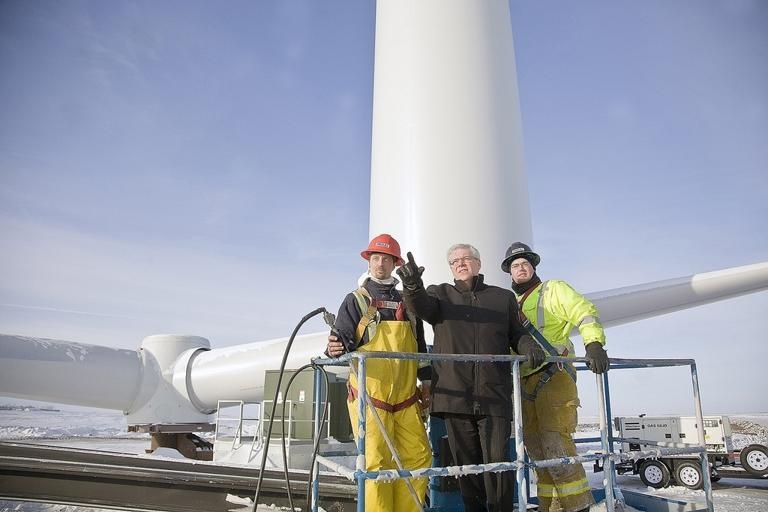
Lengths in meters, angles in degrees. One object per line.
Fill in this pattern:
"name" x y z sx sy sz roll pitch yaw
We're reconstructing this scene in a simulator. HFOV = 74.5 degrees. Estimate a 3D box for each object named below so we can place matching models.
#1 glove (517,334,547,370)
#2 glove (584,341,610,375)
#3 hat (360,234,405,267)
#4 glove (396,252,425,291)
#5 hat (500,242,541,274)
"glove" 1.734 1.172 6.101 0.254 0.450 0.179 12 -55 -11
"glove" 2.534 1.230 6.047 0.259 0.387 0.299 0 -4 25
"hat" -0.007 -0.138 6.687 0.533 0.373 0.701 8 -7 3
"glove" 0.302 0.180 5.868 0.298 0.440 0.422 1 -4 2
"hat" 1.982 0.037 7.498 0.460 0.259 0.492 -13 -30 -9
